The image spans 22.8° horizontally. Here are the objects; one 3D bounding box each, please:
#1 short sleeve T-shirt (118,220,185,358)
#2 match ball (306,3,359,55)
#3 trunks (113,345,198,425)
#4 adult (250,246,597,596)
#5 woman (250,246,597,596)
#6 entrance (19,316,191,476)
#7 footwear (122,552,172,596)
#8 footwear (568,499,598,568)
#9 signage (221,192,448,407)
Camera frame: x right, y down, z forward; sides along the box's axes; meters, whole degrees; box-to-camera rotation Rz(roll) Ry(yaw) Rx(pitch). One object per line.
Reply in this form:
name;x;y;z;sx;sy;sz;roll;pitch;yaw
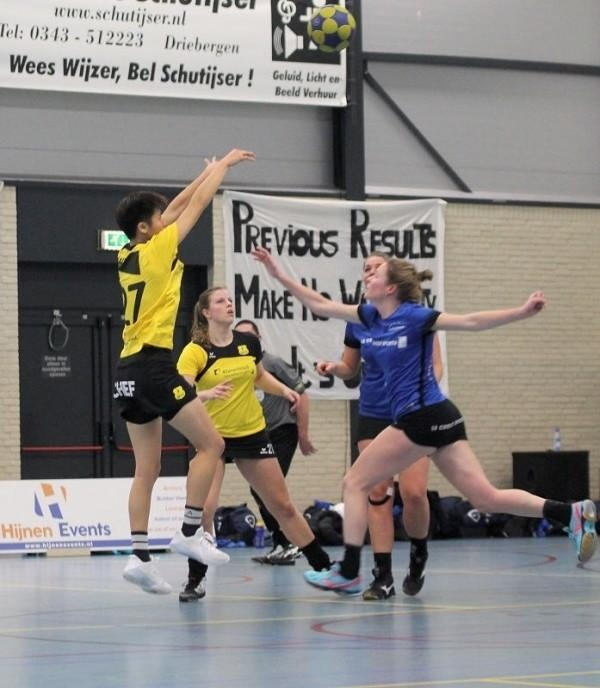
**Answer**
short sleeve T-shirt;-0.959;-0.355;9.538;0.398;0.852;0.262;-1;1;-5
match ball;0.298;-3.087;14.480;0.432;0.444;0.333;0;1;3
trunks;-0.930;0.252;9.484;0.525;0.491;0.287;0;1;0
adult;0.808;0.511;9.562;2.013;2.171;0.964;0;1;0
woman;0.812;0.515;9.561;2.000;2.162;0.958;0;1;0
entrance;-1.945;0.481;13.830;1.928;1.479;0.245;-1;1;-17
footwear;-0.979;1.456;9.521;0.298;0.288;0.292;-1;1;-6
footwear;1.849;1.226;9.779;0.224;0.432;0.169;-7;-2;4
signage;0.288;-0.545;16.619;2.798;2.265;0.056;3;1;30
